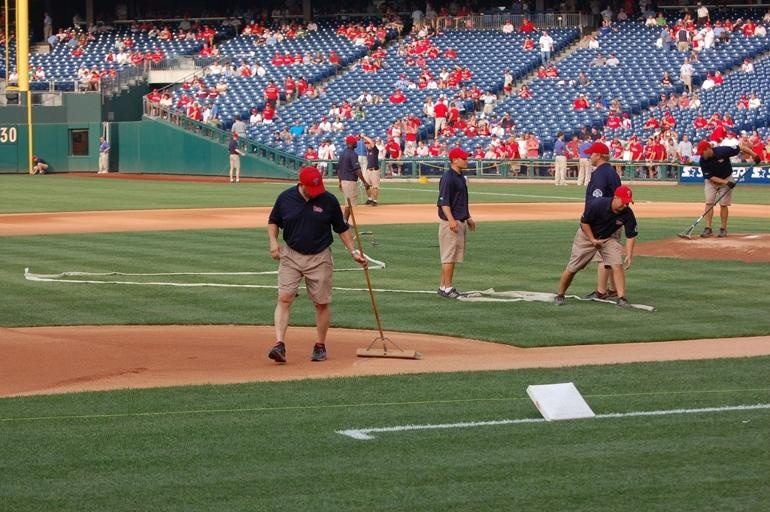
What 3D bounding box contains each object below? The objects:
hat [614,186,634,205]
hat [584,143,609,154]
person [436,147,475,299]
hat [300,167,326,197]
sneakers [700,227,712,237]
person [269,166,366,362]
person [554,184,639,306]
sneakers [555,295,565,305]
[{"bbox_3d":[5.052,-1.311,31.884,0.348,0.233,0.455,-1,16,-25],"label":"hat"},{"bbox_3d":[4.540,-2.379,32.888,0.609,0.240,0.414,4,6,21],"label":"hat"},{"bbox_3d":[1.501,-0.737,32.864,0.762,3.194,0.883,3,11,2],"label":"person"},{"bbox_3d":[-1.450,-1.461,29.368,0.493,0.571,0.440,2,10,-4],"label":"hat"},{"bbox_3d":[8.301,-0.612,38.723,0.166,0.157,0.417,1,0,35],"label":"sneakers"},{"bbox_3d":[-1.541,0.155,29.473,1.572,3.802,1.005,2,11,-4],"label":"person"},{"bbox_3d":[4.572,-0.253,32.094,1.452,2.579,0.577,4,11,8],"label":"person"},{"bbox_3d":[3.731,0.931,32.246,0.219,0.171,0.199,0,2,2],"label":"sneakers"}]
